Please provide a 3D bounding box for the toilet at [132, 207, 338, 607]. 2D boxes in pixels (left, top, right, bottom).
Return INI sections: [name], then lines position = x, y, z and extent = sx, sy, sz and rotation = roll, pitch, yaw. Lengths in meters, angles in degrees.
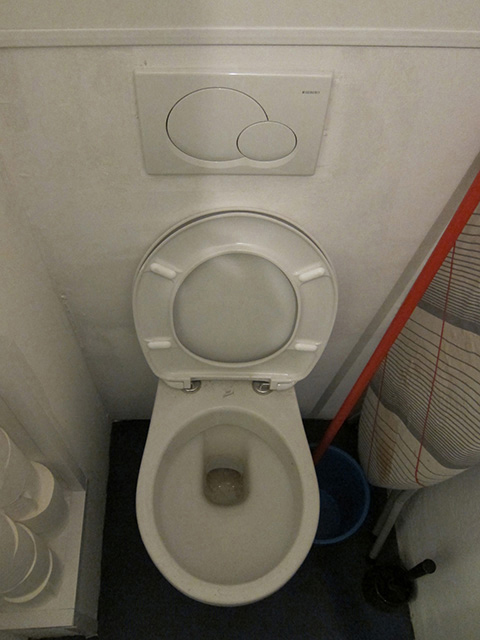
[toilet]
position = -0.029, 0.262, 1.132
extent = 0.465, 0.774, 0.472
rotation = -2, 57, -13
